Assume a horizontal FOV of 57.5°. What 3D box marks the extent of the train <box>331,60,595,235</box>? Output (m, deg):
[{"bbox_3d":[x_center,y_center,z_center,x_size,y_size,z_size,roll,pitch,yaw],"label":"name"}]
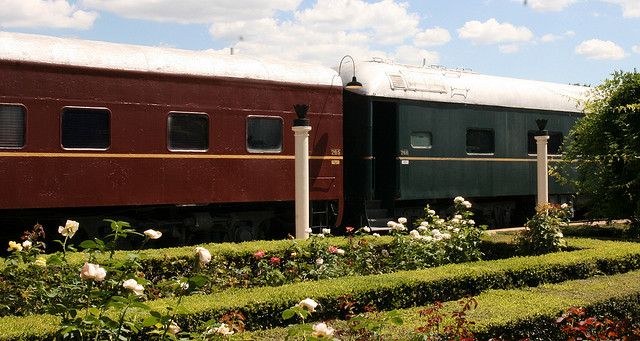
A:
[{"bbox_3d":[4.010,-0.711,17.201,7.054,3.775,1.020,-1,-1,-23],"label":"train"}]
